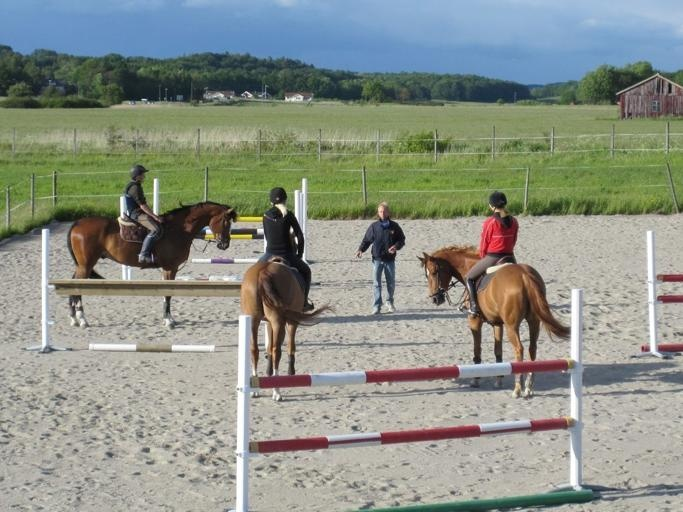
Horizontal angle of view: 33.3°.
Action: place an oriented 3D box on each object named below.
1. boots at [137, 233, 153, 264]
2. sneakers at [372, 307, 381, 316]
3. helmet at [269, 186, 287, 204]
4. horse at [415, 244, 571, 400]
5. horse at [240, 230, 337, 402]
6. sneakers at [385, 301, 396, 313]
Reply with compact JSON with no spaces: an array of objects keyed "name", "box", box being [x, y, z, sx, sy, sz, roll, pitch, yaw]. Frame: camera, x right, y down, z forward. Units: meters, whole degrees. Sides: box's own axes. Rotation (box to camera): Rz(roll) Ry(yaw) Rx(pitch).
[{"name":"boots","box":[-3.930,-0.122,22.648,0.328,0.607,0.219,-3,11,0]},{"name":"sneakers","box":[0.688,1.112,23.220,0.197,0.170,0.203,-3,11,-1]},{"name":"helmet","box":[-1.113,-1.056,19.776,0.240,0.227,0.300,-4,23,0]},{"name":"horse","box":[2.710,1.113,20.270,0.920,2.628,3.669,-3,1,-27]},{"name":"horse","box":[-1.149,1.109,19.406,1.095,2.048,1.272,-3,11,-5]},{"name":"sneakers","box":[0.985,1.059,23.490,0.206,0.214,0.506,1,-3,-10]}]
